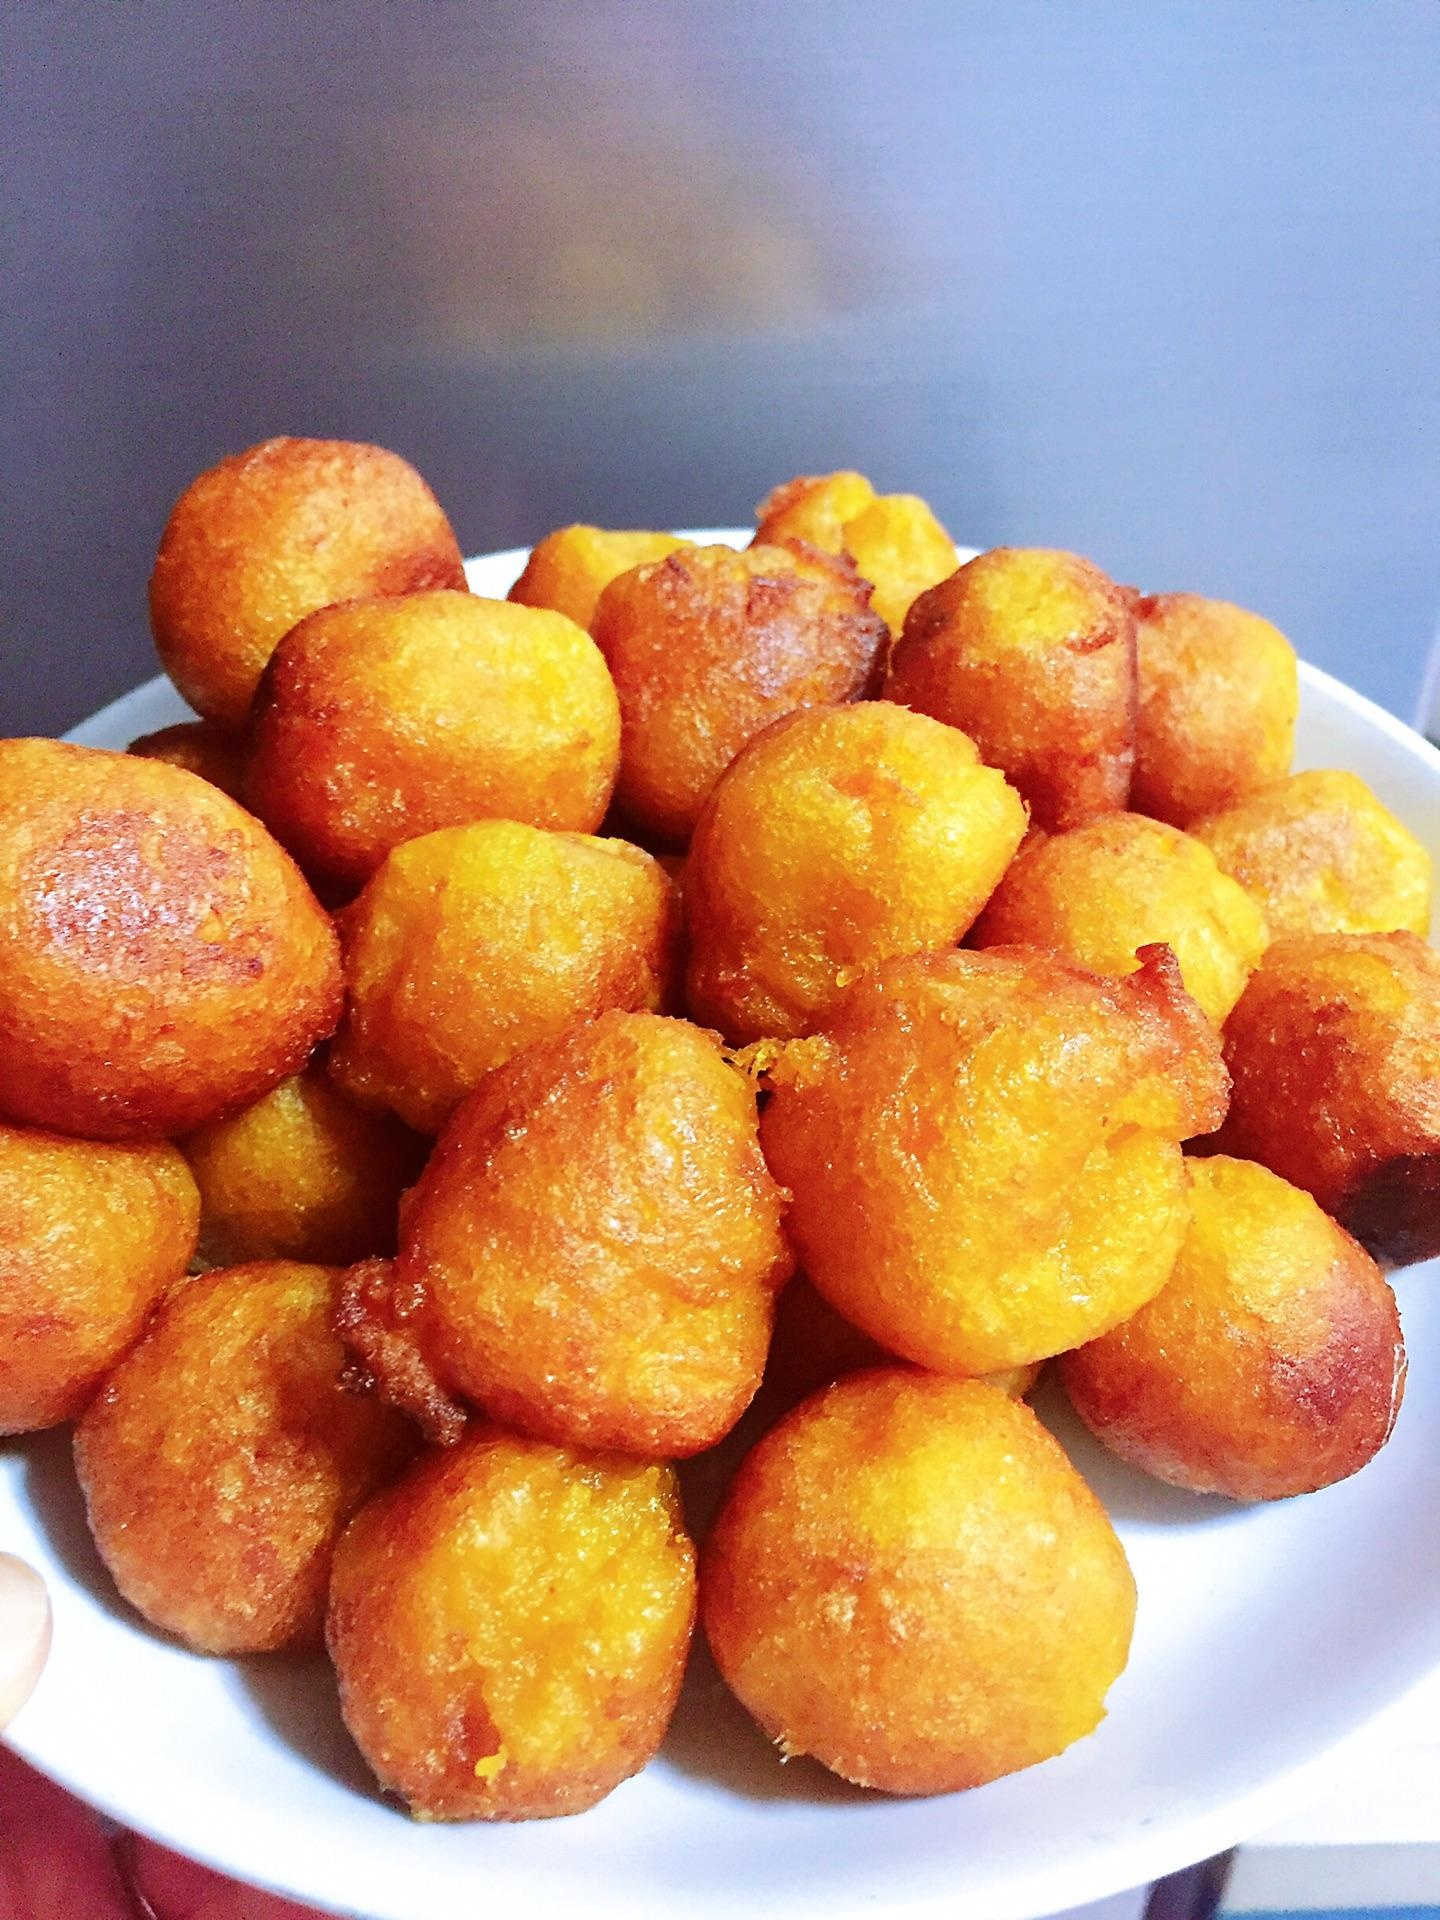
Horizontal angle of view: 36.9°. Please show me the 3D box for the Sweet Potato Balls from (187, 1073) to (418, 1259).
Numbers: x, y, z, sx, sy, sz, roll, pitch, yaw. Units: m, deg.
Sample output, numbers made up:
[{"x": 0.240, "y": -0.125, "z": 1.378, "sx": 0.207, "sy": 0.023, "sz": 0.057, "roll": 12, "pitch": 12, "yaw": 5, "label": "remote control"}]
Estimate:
[{"x": -0.177, "y": 0.075, "z": 0.834, "sx": 0.078, "sy": 0.042, "sz": 0.080, "roll": -1, "pitch": 29, "yaw": 0, "label": "Sweet Potato Balls"}]

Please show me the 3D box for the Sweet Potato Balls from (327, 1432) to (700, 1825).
[{"x": -0.063, "y": 0.206, "z": 0.701, "sx": 0.131, "sy": 0.047, "sz": 0.115, "roll": -3, "pitch": 79, "yaw": -9, "label": "Sweet Potato Balls"}]

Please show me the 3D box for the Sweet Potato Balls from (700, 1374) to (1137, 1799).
[{"x": 0.065, "y": 0.202, "z": 0.712, "sx": 0.129, "sy": 0.073, "sz": 0.119, "roll": 0, "pitch": 48, "yaw": 0, "label": "Sweet Potato Balls"}]

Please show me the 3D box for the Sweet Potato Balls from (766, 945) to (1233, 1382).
[{"x": 0.093, "y": 0.071, "z": 0.720, "sx": 0.171, "sy": 0.091, "sz": 0.136, "roll": 0, "pitch": 81, "yaw": -5, "label": "Sweet Potato Balls"}]

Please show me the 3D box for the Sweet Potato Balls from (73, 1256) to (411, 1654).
[{"x": -0.175, "y": 0.175, "z": 0.753, "sx": 0.145, "sy": 0.072, "sz": 0.119, "roll": 1, "pitch": 70, "yaw": -25, "label": "Sweet Potato Balls"}]
